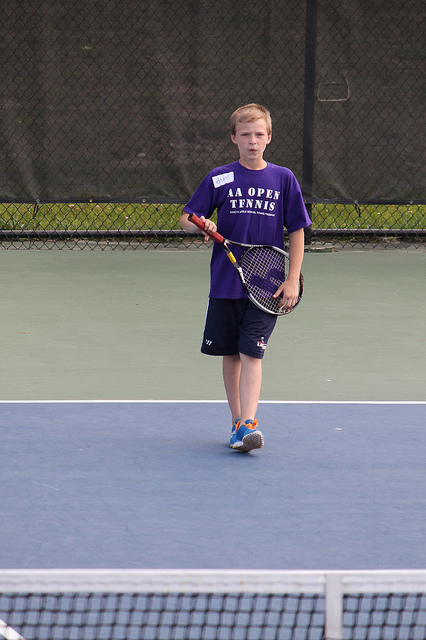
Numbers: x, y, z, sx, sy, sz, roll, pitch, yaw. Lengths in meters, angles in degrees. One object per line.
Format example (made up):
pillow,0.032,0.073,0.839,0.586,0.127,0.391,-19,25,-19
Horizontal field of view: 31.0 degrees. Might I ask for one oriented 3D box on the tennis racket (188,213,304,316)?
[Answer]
tennis racket,0.133,-0.208,2.995,0.590,0.243,0.051,37,-9,-2
